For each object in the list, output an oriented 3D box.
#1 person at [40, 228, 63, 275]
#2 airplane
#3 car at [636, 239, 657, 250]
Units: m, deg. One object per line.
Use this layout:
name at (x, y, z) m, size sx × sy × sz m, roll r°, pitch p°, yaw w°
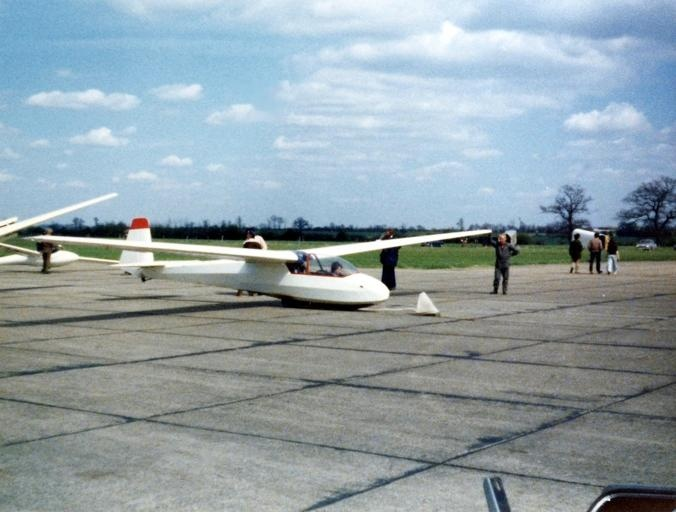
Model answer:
person at (-12.885, -0.245, 29.502) m, size 1.174 × 1.934 × 0.922 m, roll 2°, pitch 3°, yaw -4°
airplane at (-2.135, 0.201, 17.341) m, size 10.252 × 1.876 × 5.265 m, roll -1°, pitch 6°, yaw -19°
car at (19.792, -0.651, 42.917) m, size 1.443 × 0.677 × 2.632 m, roll 3°, pitch 8°, yaw 28°
